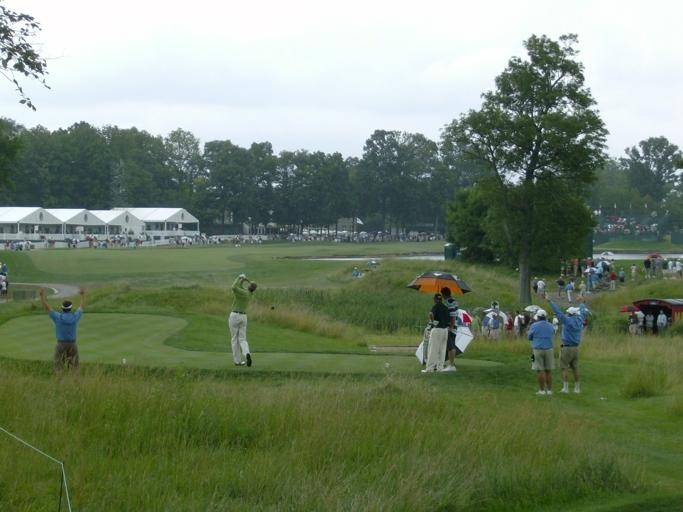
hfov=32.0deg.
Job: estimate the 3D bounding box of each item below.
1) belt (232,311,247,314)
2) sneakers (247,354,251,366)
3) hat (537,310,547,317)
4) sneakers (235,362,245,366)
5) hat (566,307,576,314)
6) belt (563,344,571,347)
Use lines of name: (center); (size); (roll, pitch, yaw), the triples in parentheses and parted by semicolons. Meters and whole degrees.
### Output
belt: (-3.796, 2.090, 43.774); (0.434, 0.097, 0.176); (1, 1, -37)
sneakers: (-3.393, 3.821, 43.348); (0.149, 0.435, 0.176); (-2, -1, -14)
hat: (7.096, 2.066, 42.194); (0.283, 0.269, 0.233); (-3, 1, 30)
sneakers: (-3.760, 3.989, 43.625); (0.331, 0.145, 0.125); (-4, 2, 4)
hat: (8.192, 1.989, 42.337); (0.216, 0.247, 0.287); (11, 16, 43)
belt: (8.028, 3.217, 42.563); (0.265, 0.062, 0.046); (2, 1, 21)
